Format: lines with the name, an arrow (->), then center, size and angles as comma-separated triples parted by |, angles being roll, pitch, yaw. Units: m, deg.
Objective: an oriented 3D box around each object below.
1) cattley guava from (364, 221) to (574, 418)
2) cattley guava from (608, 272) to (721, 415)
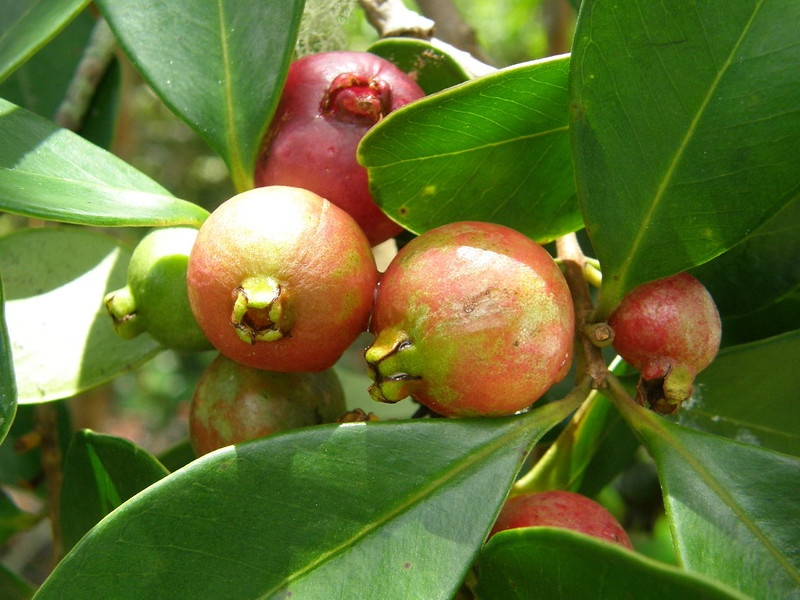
cattley guava -> 0.100, 0.026, 1.119 | 0.221, 0.204, 0.262 | 34, 34, 34
cattley guava -> 0.378, 0.043, 1.212 | 0.145, 0.215, 0.138 | -15, 63, 31
